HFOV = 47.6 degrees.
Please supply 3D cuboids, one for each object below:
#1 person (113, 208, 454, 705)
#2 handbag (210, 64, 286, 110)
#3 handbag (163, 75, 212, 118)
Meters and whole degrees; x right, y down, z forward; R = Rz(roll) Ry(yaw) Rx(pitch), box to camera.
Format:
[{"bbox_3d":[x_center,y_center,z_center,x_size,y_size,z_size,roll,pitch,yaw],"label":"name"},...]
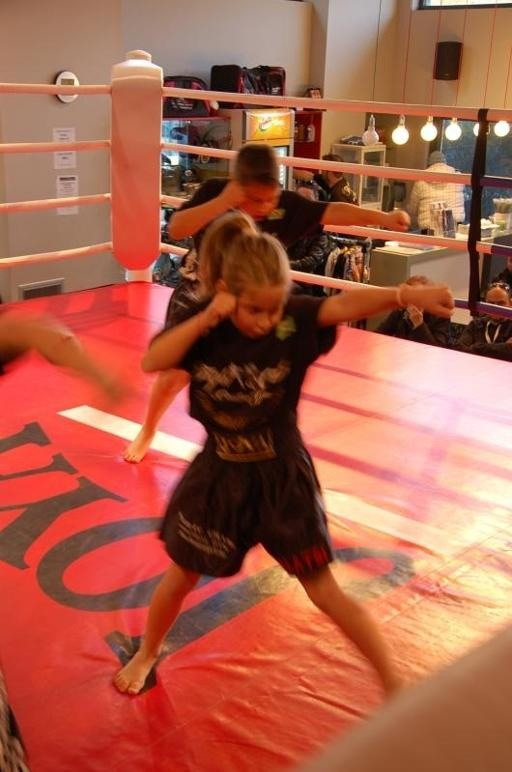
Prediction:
[{"bbox_3d":[0.032,0.164,1.264,0.623,1.031,0.356,5,18,7],"label":"person"},{"bbox_3d":[-0.102,-3.970,7.461,0.439,0.457,1.052,18,23,39],"label":"handbag"},{"bbox_3d":[-0.784,-3.379,6.733,0.559,0.610,1.015,0,18,-8],"label":"handbag"}]
